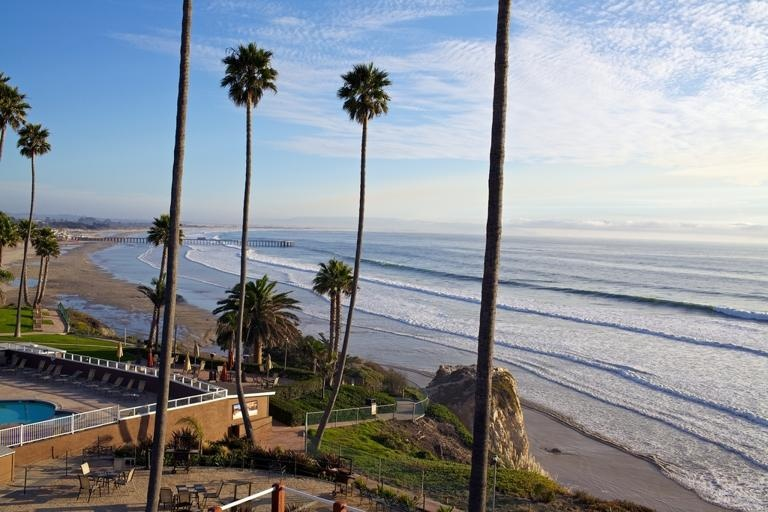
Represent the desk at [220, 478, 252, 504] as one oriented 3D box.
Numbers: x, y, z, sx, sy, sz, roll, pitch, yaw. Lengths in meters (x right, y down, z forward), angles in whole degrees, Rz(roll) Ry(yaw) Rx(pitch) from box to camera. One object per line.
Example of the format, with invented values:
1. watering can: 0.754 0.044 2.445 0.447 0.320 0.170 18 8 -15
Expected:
1. desk: -7.096 11.552 27.068 1.093 0.610 1.095 -7 -11 42
